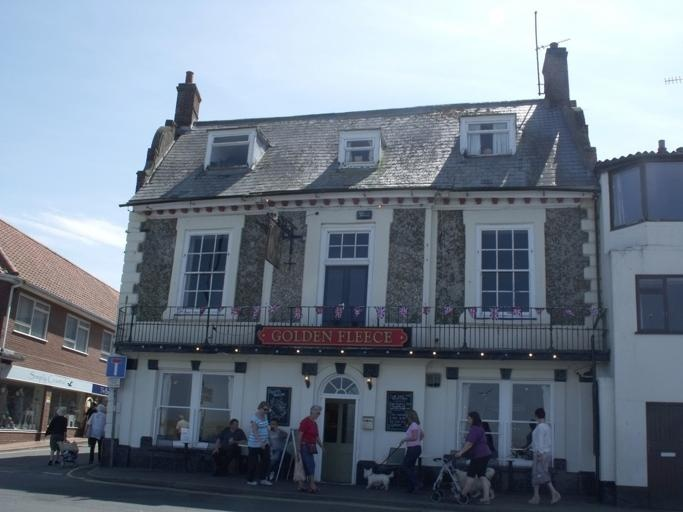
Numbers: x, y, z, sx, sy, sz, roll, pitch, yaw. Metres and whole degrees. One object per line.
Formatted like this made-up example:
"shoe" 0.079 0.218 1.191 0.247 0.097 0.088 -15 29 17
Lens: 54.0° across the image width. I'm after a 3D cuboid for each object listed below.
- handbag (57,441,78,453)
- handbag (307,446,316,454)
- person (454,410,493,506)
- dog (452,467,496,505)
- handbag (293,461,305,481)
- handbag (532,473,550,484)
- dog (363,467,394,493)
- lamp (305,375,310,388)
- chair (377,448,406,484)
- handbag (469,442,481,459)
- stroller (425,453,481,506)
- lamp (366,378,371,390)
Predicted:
"handbag" -8.616 5.984 21.158 0.402 0.323 0.681 11 -18 -33
"handbag" -0.793 4.914 17.070 0.180 0.245 0.080 -2 5 -11
"person" 3.253 4.879 16.399 0.763 2.149 1.357 -2 -16 12
"dog" 3.283 5.584 16.403 1.509 0.928 0.533 4 -24 2
"handbag" -1.091 5.526 17.320 0.281 0.519 0.419 3 -15 -4
"handbag" 4.904 5.484 16.549 0.421 0.244 0.279 0 -15 4
"dog" 0.983 6.045 18.265 0.807 0.514 0.805 -1 -15 8
"lamp" -1.005 3.711 19.850 0.163 0.327 0.107 1 -15 2
"chair" 1.483 5.745 18.713 1.105 1.036 0.785 -6 -18 28
"handbag" 3.146 4.582 16.011 0.340 0.354 0.343 1 0 -25
"stroller" 2.797 5.609 16.970 1.321 1.401 1.046 3 -16 11
"lamp" 0.794 3.706 19.459 0.121 0.302 0.100 1 -15 3
